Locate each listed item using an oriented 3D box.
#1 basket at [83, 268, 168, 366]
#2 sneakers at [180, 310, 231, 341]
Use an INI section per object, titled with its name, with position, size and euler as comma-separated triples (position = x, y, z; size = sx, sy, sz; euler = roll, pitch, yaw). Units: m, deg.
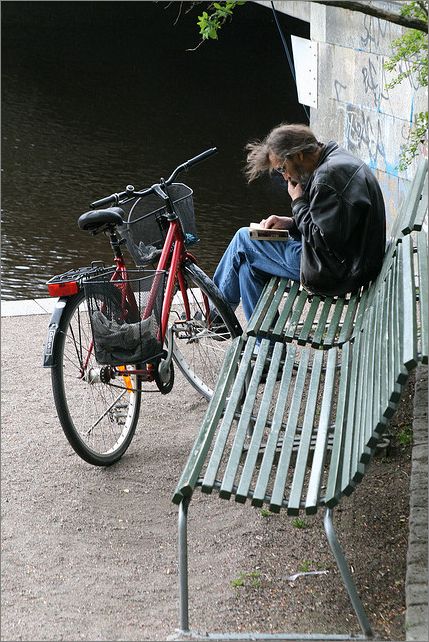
[basket]
position = -0.417, -0.019, 2.645
size = 0.412, 0.525, 0.365
euler = -6, 2, -19
[sneakers]
position = -0.043, 0.041, 3.363
size = 0.219, 0.084, 0.171
euler = 28, 19, 11
